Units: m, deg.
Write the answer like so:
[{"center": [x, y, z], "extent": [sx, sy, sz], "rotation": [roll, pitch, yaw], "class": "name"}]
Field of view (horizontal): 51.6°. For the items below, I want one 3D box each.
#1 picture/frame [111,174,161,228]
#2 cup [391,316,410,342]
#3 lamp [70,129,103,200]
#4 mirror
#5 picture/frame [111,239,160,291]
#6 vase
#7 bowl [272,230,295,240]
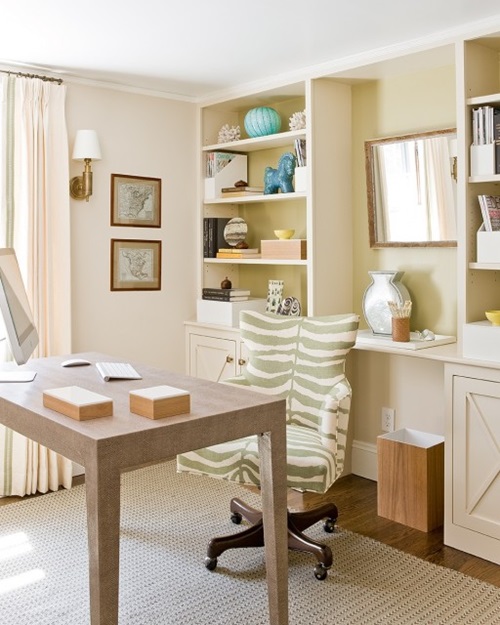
[{"center": [-0.747, -0.721, 3.304], "extent": [0.367, 0.373, 0.015], "rotation": [0, 0, -42], "class": "picture/frame"}, {"center": [0.725, 0.084, 2.507], "extent": [0.075, 0.113, 0.105], "rotation": [-1, 8, 15], "class": "cup"}, {"center": [-0.959, -0.862, 3.012], "extent": [0.184, 0.391, 0.191], "rotation": [-8, 9, -37], "class": "lamp"}, {"center": [0.851, -0.662, 2.681], "extent": [0.061, 0.745, 0.674], "rotation": [-4, 5, -41], "class": "mirror"}, {"center": [-0.754, -0.313, 3.326], "extent": [0.333, 0.337, 0.025], "rotation": [-1, 2, -43], "class": "picture/frame"}, {"center": [0.713, -0.053, 2.681], "extent": [0.124, 0.455, 0.329], "rotation": [0, 0, -31], "class": "vase"}, {"center": [0.198, -0.475, 3.173], "extent": [0.081, 0.041, 0.081], "rotation": [-2, -2, 0], "class": "bowl"}]
